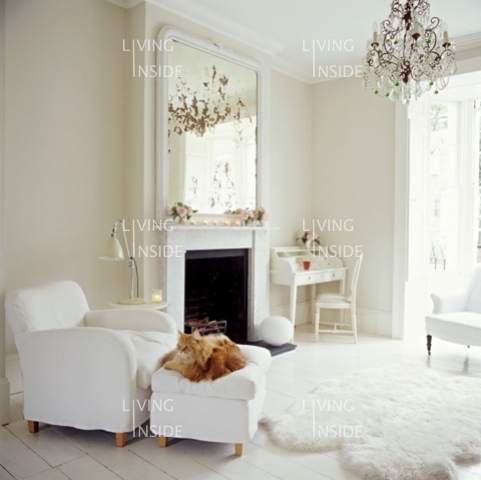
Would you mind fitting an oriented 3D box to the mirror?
[{"bbox_3d":[-0.326,-1.076,4.130,0.090,2.176,1.629,-1,-2,34],"label":"mirror"}]

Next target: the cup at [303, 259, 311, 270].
[{"bbox_3d":[0.761,0.281,5.117,0.084,0.123,0.097,1,-6,-6],"label":"cup"}]

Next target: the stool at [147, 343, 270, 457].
[{"bbox_3d":[-0.145,0.812,2.535,0.392,0.390,0.579,-1,-4,12],"label":"stool"}]

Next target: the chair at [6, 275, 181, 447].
[{"bbox_3d":[-0.875,0.711,2.950,0.847,1.080,0.875,0,0,8],"label":"chair"}]

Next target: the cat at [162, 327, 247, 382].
[{"bbox_3d":[-0.191,0.628,2.475,0.262,0.210,0.364,3,-2,44],"label":"cat"}]

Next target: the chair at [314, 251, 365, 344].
[{"bbox_3d":[1.153,0.624,5.134,0.535,0.976,1.042,0,2,15],"label":"chair"}]

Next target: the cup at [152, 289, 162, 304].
[{"bbox_3d":[-0.674,0.464,3.591,0.074,0.113,0.087,1,0,4],"label":"cup"}]

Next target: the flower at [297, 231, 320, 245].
[{"bbox_3d":[0.868,-0.031,5.623,0.297,0.187,0.388,0,1,11],"label":"flower"}]
